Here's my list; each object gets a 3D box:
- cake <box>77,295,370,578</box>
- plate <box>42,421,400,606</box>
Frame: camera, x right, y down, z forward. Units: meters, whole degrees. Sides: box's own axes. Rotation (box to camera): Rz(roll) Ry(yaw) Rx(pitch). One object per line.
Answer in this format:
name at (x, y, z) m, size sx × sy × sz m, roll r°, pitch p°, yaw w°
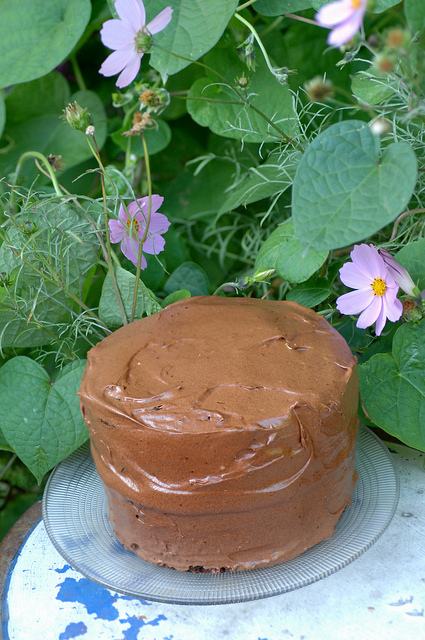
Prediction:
cake at (0.017, 0.141, 0.937) m, size 0.434 × 0.235 × 0.404 m, roll 14°, pitch 29°, yaw 24°
plate at (0.020, 0.235, 0.825) m, size 0.467 × 0.415 × 0.048 m, roll 14°, pitch 28°, yaw -17°
